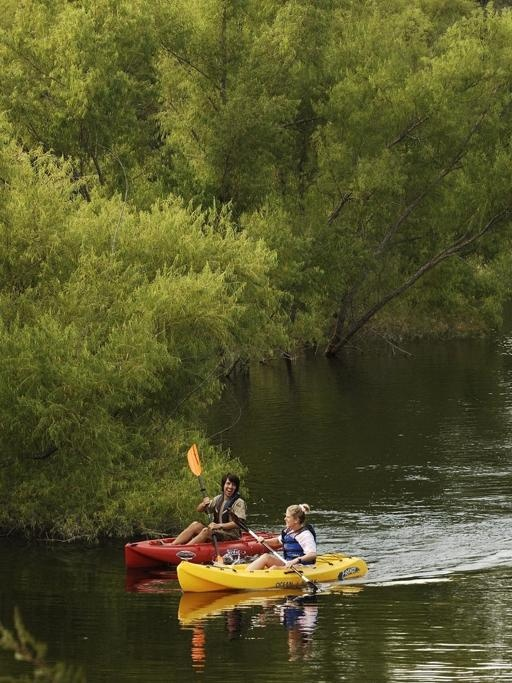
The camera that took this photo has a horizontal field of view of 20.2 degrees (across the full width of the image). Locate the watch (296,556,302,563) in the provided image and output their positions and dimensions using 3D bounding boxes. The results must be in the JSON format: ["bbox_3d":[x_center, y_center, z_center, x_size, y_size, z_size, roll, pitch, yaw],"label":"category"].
[{"bbox_3d":[0.574,2.841,18.704,0.065,0.070,0.054,-3,-5,8],"label":"watch"}]

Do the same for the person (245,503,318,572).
[{"bbox_3d":[0.325,2.733,18.944,0.881,1.325,0.565,8,-9,-24],"label":"person"}]

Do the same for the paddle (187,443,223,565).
[{"bbox_3d":[-0.764,2.425,21.114,0.143,1.588,0.078,-16,-13,16],"label":"paddle"}]

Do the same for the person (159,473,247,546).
[{"bbox_3d":[-0.684,2.374,20.022,1.236,1.128,0.762,1,3,-40],"label":"person"}]

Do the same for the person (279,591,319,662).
[{"bbox_3d":[0.436,3.327,17.521,0.272,1.111,0.272,-1,20,-14],"label":"person"}]

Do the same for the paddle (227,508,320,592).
[{"bbox_3d":[0.231,2.819,19.284,0.125,0.235,1.811,10,21,-36],"label":"paddle"}]
